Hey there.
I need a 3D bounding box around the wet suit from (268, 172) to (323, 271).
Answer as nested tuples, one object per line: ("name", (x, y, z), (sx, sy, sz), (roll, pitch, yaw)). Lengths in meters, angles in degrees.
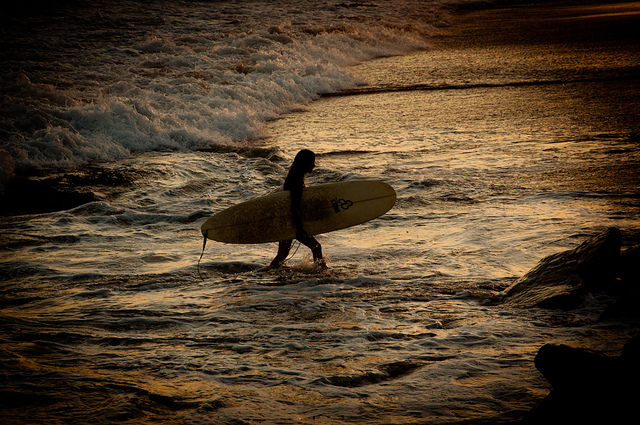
("wet suit", (-0.407, 0.175, 24.537), (1.099, 1.976, 1.086), (3, 29, 0))
